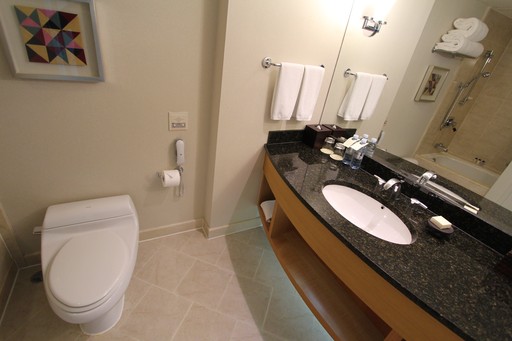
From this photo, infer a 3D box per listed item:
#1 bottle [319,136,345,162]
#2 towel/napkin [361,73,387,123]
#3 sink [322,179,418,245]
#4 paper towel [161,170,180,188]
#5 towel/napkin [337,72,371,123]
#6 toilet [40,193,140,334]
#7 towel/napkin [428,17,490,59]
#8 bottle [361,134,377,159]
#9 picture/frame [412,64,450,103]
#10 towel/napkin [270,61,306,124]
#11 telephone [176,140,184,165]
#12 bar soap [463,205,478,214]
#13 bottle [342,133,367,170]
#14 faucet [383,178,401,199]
[{"bbox_3d":[0.618,-0.178,2.761,0.109,0.121,0.258,11,22,-13],"label":"bottle"},{"bbox_3d":[0.883,-0.555,2.578,0.200,0.280,0.069,13,18,-2],"label":"towel/napkin"},{"bbox_3d":[0.747,0.292,2.273,0.224,0.153,0.663,-21,39,-40],"label":"sink"},{"bbox_3d":[-0.662,0.070,2.715,0.152,0.141,0.123,-1,34,-36],"label":"paper towel"},{"bbox_3d":[0.772,-0.587,2.649,0.294,0.363,0.125,21,30,3],"label":"towel/napkin"},{"bbox_3d":[-1.198,0.752,2.527,0.668,0.729,0.959,-6,38,-20],"label":"toilet"},{"bbox_3d":[1.189,-0.771,1.968,0.144,0.211,0.262,-5,27,-22],"label":"towel/napkin"},{"bbox_3d":[0.845,-0.185,2.539,0.098,0.176,0.092,-3,38,3],"label":"bottle"},{"bbox_3d":[1.077,-0.525,2.088,0.058,0.227,0.166,-5,31,-21],"label":"picture/frame"},{"bbox_3d":[0.244,-0.607,2.619,0.229,0.430,0.065,-10,33,-28],"label":"towel/napkin"},{"bbox_3d":[-0.598,-0.141,2.680,0.070,0.218,0.056,-2,30,-15],"label":"telephone"},{"bbox_3d":[1.315,0.240,2.082,0.060,0.069,0.018,33,77,6],"label":"bar soap"},{"bbox_3d":[0.756,-0.133,2.597,0.153,0.227,0.149,3,41,-3],"label":"bottle"},{"bbox_3d":[0.929,0.129,2.313,0.085,0.121,0.040,-33,45,1],"label":"faucet"}]
